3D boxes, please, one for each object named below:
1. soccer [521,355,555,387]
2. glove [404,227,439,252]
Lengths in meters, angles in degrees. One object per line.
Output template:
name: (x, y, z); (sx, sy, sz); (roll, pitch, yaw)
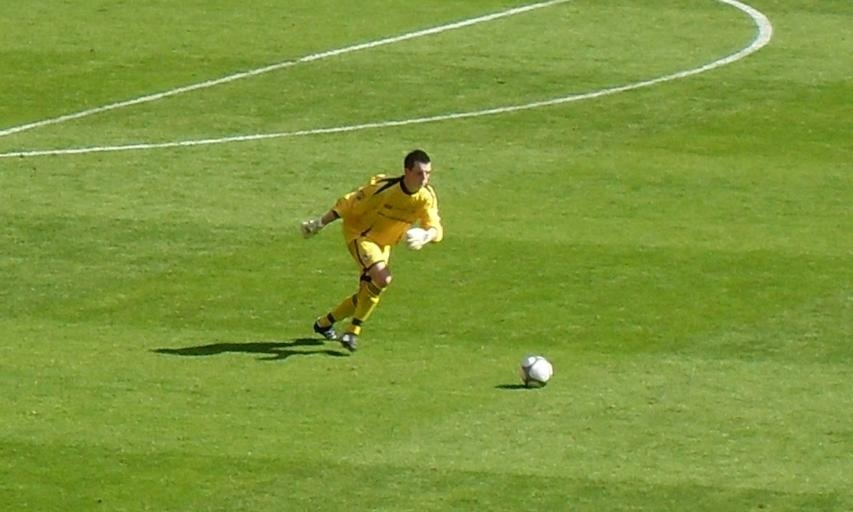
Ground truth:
soccer: (1.792, 1.824, 25.952); (0.463, 0.373, 0.393); (3, -1, 36)
glove: (-0.078, -0.326, 26.359); (0.651, 0.340, 0.255); (-5, 15, -37)
